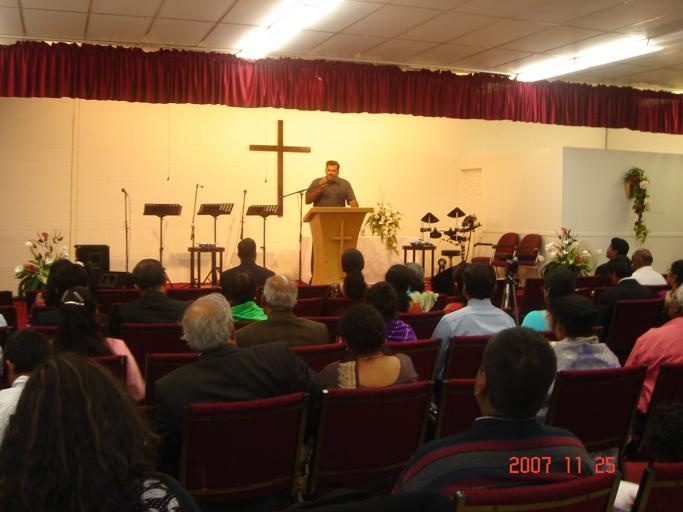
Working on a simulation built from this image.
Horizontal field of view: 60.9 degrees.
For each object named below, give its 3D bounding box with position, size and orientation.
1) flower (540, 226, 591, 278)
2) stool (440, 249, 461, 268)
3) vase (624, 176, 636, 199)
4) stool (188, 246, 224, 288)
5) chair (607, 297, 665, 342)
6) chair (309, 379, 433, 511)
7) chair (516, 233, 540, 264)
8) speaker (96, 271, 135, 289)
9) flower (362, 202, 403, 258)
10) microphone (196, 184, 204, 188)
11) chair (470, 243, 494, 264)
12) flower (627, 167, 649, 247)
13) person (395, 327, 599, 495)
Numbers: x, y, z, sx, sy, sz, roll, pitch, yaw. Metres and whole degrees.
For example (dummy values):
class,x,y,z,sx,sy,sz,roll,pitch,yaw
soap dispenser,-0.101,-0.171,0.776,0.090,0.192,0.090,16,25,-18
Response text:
class,x,y,z,sx,sy,sz,roll,pitch,yaw
flower,3.408,-0.083,8.907,0.765,1.098,0.749,3,0,40
stool,1.966,0.029,10.621,0.292,0.307,0.333,1,1,-3
vase,5.283,-1.224,10.639,0.218,0.365,0.174,-3,4,-32
stool,-2.170,0.176,9.245,0.589,0.707,0.624,0,1,-5
chair,2.306,0.505,4.580,0.239,0.465,0.269,-4,14,-15
chair,0.089,0.773,2.863,0.464,0.938,0.539,-3,14,-18
chair,3.320,-0.141,10.285,0.486,0.603,0.439,-4,4,-33
speaker,-2.585,0.278,6.625,0.253,0.190,0.260,-1,-5,39
flower,0.742,-0.444,10.229,0.814,1.095,0.802,3,-3,-28
microphone,-2.417,-1.199,9.983,0.122,0.080,0.024,-4,4,-31
chair,2.609,-0.058,10.771,0.369,0.561,0.329,-3,0,-8
flower,5.446,-0.905,10.692,0.452,1.371,0.488,2,28,32
person,0.532,0.501,1.948,0.720,0.596,0.356,-1,17,-14
